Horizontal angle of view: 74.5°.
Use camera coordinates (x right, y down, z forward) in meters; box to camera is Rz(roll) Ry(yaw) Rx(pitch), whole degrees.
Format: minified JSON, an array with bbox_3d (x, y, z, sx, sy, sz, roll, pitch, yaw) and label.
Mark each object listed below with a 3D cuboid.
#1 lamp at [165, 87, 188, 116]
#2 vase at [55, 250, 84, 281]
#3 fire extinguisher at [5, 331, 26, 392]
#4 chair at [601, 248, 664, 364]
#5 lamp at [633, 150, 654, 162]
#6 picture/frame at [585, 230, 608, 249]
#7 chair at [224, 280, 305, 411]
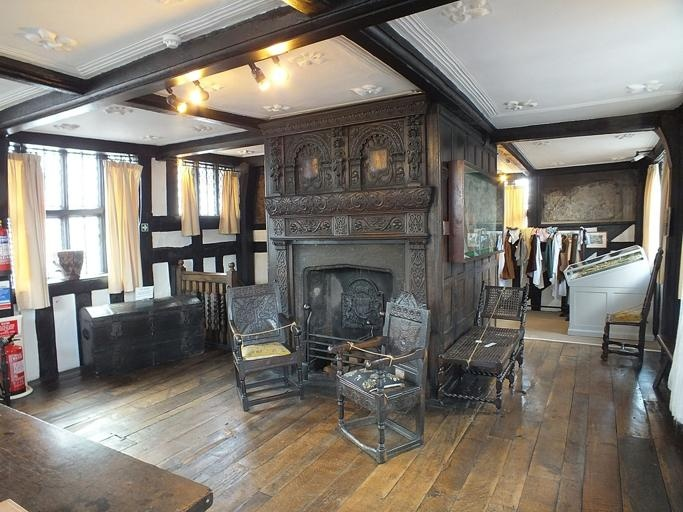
[{"bbox_3d":[-1.763,-1.678,4.813,0.154,0.101,0.284,3,-1,-10],"label":"lamp"},{"bbox_3d":[-3.819,0.140,6.433,0.381,0.530,0.429,3,-2,-44],"label":"vase"},{"bbox_3d":[-3.944,1.345,5.426,0.089,0.712,0.242,2,12,17],"label":"fire extinguisher"},{"bbox_3d":[4.192,0.673,6.504,0.608,1.668,1.362,7,14,35],"label":"chair"},{"bbox_3d":[5.686,-1.924,8.535,0.238,0.135,0.302,-5,6,-40],"label":"lamp"},{"bbox_3d":[5.554,-0.368,9.785,0.400,0.371,0.030,3,9,28],"label":"picture/frame"},{"bbox_3d":[-0.934,1.073,5.585,0.864,1.307,1.153,-4,11,-14],"label":"chair"}]
